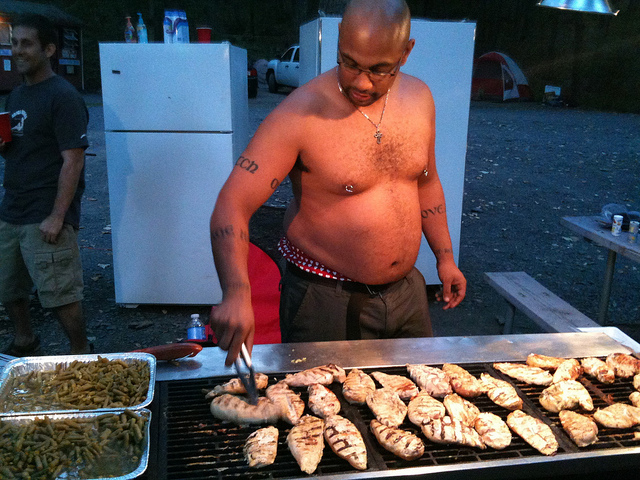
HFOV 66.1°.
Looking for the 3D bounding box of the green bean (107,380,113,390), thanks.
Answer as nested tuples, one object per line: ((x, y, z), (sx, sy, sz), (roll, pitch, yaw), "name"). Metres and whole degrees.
((-0.803, 0.553, 1.877), (0.009, 0.009, 0.034), (7, 10, -6), "green bean")

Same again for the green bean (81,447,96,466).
((-0.758, 0.705, 1.612), (0.069, 0.033, 0.018), (18, 25, 42), "green bean")

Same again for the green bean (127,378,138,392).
((-0.720, 0.546, 1.874), (0.019, 0.023, 0.087), (-23, 37, -23), "green bean")

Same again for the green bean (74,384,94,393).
((-0.898, 0.561, 1.866), (0.042, 0.012, 0.023), (-14, 20, -29), "green bean")

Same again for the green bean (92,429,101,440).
((-0.768, 0.664, 1.691), (0.025, 0.009, 0.020), (26, 22, -24), "green bean")

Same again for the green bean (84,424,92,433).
((-0.799, 0.648, 1.692), (0.011, 0.009, 0.040), (3, 19, 7), "green bean")

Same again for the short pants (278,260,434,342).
((0.198, 0.319, 2.457), (0.783, 0.418, 0.326), (-3, 19, -11), "short pants")

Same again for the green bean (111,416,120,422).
((-0.710, 0.620, 1.707), (0.026, 0.010, 0.019), (-11, 22, -31), "green bean")

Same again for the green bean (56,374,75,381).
((-0.988, 0.524, 1.894), (0.073, 0.019, 0.014), (-11, 51, -7), "green bean")

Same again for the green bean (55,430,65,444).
((-0.867, 0.657, 1.646), (0.009, 0.008, 0.031), (-15, 26, 21), "green bean")

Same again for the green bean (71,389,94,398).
((-0.898, 0.579, 1.860), (0.069, 0.017, 0.017), (-13, 23, -36), "green bean")

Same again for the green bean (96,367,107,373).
((-0.871, 0.517, 1.960), (0.035, 0.012, 0.017), (-16, 25, -41), "green bean")

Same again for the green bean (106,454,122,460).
((-0.676, 0.713, 1.622), (0.026, 0.009, 0.020), (2, -5, 45), "green bean")

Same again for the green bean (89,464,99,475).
((-0.728, 0.736, 1.584), (0.018, 0.006, 0.037), (4, 19, 11), "green bean")

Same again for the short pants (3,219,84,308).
((-2.222, 0.211, 3.881), (0.678, 0.711, 0.336), (3, 18, 6), "short pants")

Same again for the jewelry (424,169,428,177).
((0.560, -0.355, 2.605), (0.020, 0.029, 0.007), (2, 7, 16), "jewelry")

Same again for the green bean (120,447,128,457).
((-0.650, 0.705, 1.634), (0.022, 0.006, 0.017), (35, 11, 0), "green bean")

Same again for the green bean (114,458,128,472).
((-0.647, 0.733, 1.600), (0.041, 0.011, 0.009), (-24, 20, -35), "green bean")

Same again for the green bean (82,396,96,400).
((-0.866, 0.590, 1.840), (0.040, 0.007, 0.017), (-12, 22, -33), "green bean")

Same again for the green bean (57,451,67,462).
((-0.839, 0.705, 1.602), (0.018, 0.013, 0.034), (1, 18, -29), "green bean")

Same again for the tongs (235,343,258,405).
((-0.279, 0.481, 1.790), (0.022, 0.059, 0.287), (14, 24, -38), "tongs")

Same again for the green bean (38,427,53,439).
((-0.932, 0.652, 1.665), (0.031, 0.008, 0.030), (39, -6, -21), "green bean")

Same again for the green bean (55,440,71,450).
((-0.846, 0.677, 1.622), (0.029, 0.009, 0.028), (-5, 2, 0), "green bean")
